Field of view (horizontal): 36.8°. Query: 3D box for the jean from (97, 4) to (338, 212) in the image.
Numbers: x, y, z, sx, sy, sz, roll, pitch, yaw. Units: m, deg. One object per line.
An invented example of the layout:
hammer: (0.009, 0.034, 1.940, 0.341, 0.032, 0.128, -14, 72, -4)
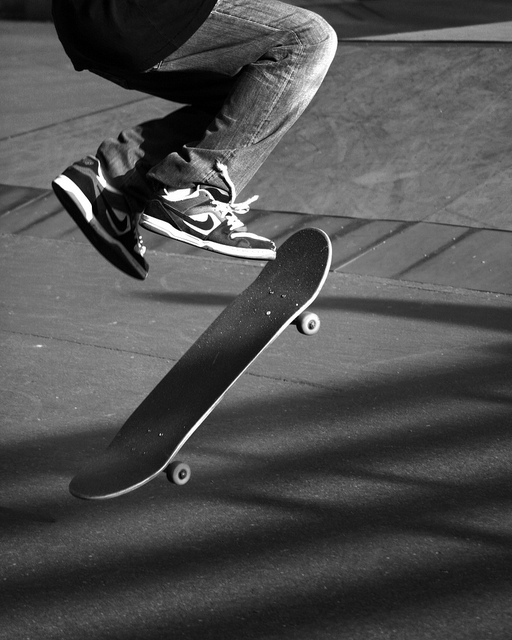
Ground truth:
jean: (-0.135, -0.530, 1.960, 0.504, 0.550, 0.297, 25, 24, 34)

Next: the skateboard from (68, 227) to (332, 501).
skateboard: (-0.145, 0.132, 2.078, 0.909, 0.144, 0.237, -40, 33, -11)

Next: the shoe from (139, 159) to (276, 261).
shoe: (-0.092, -0.287, 1.999, 0.379, 0.219, 0.131, 19, 11, 10)

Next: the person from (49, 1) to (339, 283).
person: (-0.217, -0.447, 1.990, 0.658, 0.747, 0.313, 6, 22, -15)
